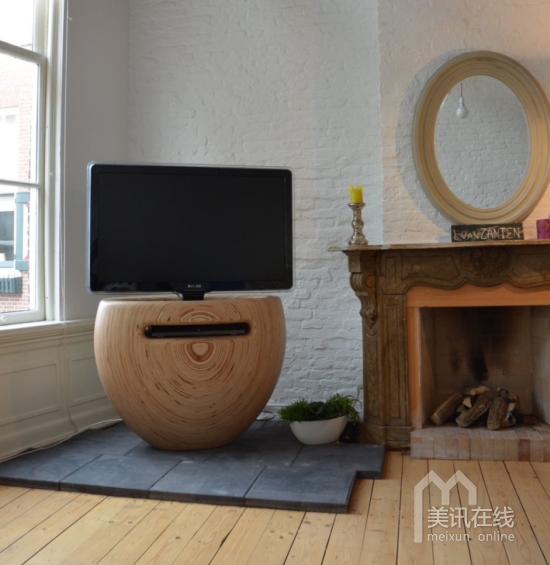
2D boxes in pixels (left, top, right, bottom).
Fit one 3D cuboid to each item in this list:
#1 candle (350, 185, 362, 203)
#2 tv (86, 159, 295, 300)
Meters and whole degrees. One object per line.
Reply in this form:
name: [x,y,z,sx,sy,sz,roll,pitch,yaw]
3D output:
candle: [0.451,-0.485,3.050,0.071,0.105,0.044,-2,5,-6]
tv: [-0.403,-0.262,2.764,1.015,0.626,0.088,0,-2,-9]
